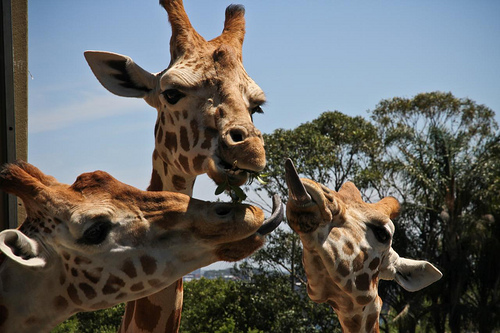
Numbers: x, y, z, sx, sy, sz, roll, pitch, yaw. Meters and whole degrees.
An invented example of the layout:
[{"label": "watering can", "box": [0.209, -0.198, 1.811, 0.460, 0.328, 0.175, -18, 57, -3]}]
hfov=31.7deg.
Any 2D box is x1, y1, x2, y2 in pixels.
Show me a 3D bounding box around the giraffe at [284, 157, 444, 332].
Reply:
[{"label": "giraffe", "box": [3.554, 2.491, 25.450, 3.123, 4.905, 4.568, -27, -65, 29]}]
